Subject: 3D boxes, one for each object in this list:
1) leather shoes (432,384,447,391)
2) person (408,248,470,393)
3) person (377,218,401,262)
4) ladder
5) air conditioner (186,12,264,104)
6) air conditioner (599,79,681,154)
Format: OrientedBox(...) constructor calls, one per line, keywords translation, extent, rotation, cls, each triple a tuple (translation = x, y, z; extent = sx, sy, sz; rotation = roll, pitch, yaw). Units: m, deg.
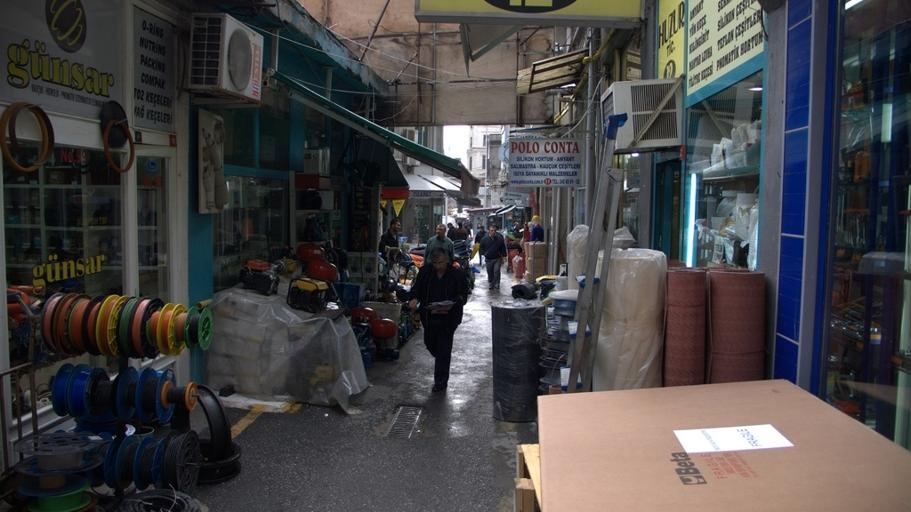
OrientedBox(translation=(-0.233, 2.025, 9.507), extent=(0.239, 0.105, 0.145), rotation=(-2, 14, -20), cls="leather shoes")
OrientedBox(translation=(-0.261, 0.971, 9.622), extent=(0.874, 2.174, 0.838), rotation=(1, 13, -4), cls="person")
OrientedBox(translation=(-1.602, -0.419, 14.929), extent=(0.449, 0.845, 1.120), rotation=(2, 13, -2), cls="person")
OrientedBox(translation=(1.283, 0.023, 5.684), extent=(0.284, 2.479, 0.709), rotation=(7, 14, 22), cls="ladder")
OrientedBox(translation=(-3.085, -2.552, 8.189), extent=(0.625, 1.055, 1.237), rotation=(2, -2, 13), cls="air conditioner")
OrientedBox(translation=(2.343, -1.743, 7.899), extent=(0.958, 0.878, 1.001), rotation=(-7, 8, -12), cls="air conditioner")
